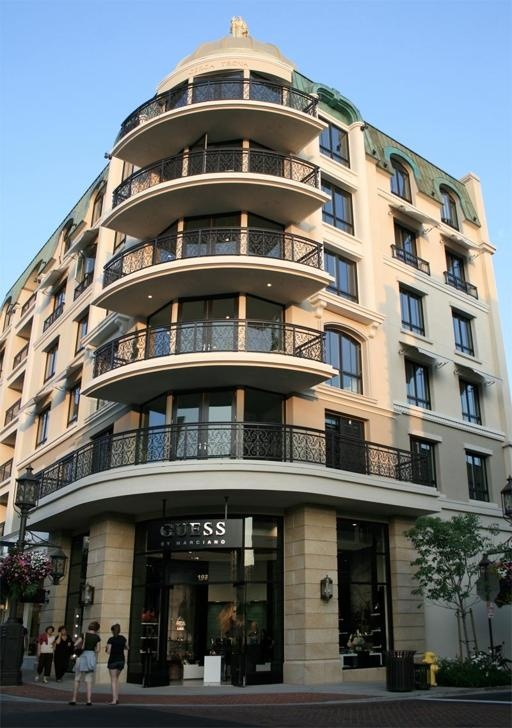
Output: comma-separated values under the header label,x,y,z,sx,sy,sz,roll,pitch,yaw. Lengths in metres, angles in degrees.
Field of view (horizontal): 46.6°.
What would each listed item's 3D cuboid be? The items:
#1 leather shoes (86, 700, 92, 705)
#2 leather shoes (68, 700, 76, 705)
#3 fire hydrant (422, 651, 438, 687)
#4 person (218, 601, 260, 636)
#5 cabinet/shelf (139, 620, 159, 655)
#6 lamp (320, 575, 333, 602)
label,x,y,z,sx,sy,sz,roll,pitch,yaw
leather shoes,-2.739,5.518,9.732,0.054,0.067,0.160,9,-36,-20
leather shoes,-2.991,5.493,9.688,0.061,0.072,0.184,21,-42,-33
fire hydrant,4.092,7.038,13.778,0.324,0.641,0.793,-6,-22,13
person,-0.423,6.296,14.697,0.496,0.771,1.760,7,-23,-20
cabinet/shelf,-2.691,6.839,14.929,0.403,0.775,1.280,4,-22,-12
lamp,1.743,5.412,14.321,0.246,0.574,0.437,-16,-26,34
